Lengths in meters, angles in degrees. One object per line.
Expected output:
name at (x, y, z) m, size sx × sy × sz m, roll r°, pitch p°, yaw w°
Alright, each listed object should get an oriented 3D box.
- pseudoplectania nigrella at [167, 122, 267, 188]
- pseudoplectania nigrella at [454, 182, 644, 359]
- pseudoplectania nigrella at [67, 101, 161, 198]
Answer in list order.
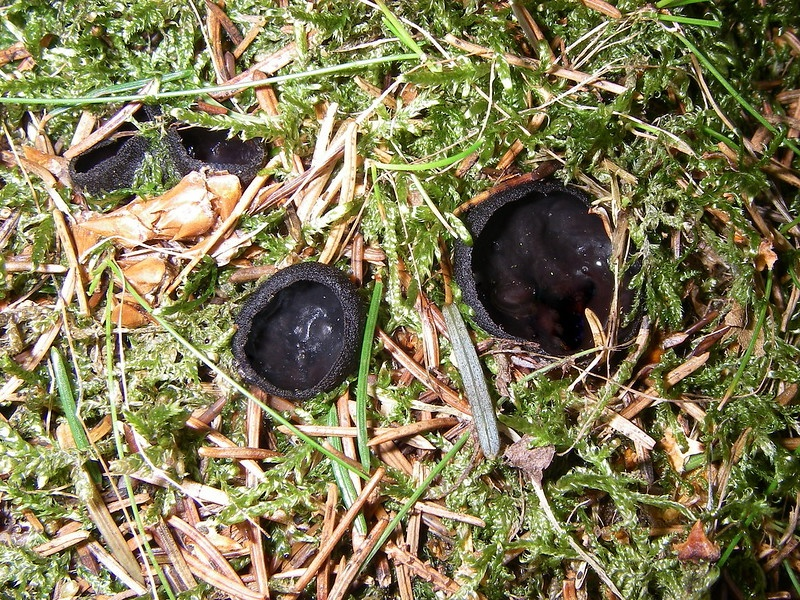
pseudoplectania nigrella at (-0.529, -0.415, 2.152) m, size 0.248 × 0.292 × 0.126 m, roll -7°, pitch 86°, yaw -9°
pseudoplectania nigrella at (0.397, -0.090, 2.031) m, size 0.472 × 0.369 × 0.354 m, roll 0°, pitch 46°, yaw -9°
pseudoplectania nigrella at (-0.862, -0.407, 2.039) m, size 0.147 × 0.231 × 0.080 m, roll 58°, pitch 33°, yaw -7°
